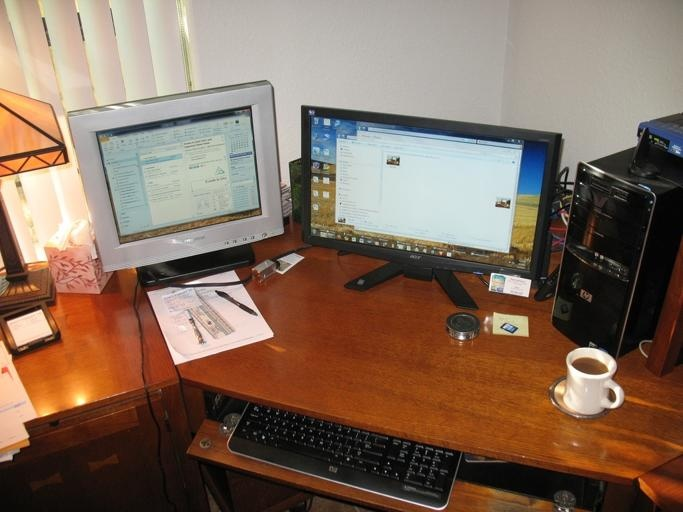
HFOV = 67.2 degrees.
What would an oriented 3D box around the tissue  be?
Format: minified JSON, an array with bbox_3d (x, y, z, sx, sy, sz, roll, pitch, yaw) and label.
[{"bbox_3d":[-0.830,0.012,1.666,0.187,0.221,0.154,-18,35,-37],"label":"tissue "}]

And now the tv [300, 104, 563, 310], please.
[{"bbox_3d":[0.253,-0.122,1.531,0.602,0.428,0.243,10,41,17],"label":"tv"}]

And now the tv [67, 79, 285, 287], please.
[{"bbox_3d":[-0.506,-0.243,1.602,0.665,0.658,0.141,-17,36,-31],"label":"tv"}]

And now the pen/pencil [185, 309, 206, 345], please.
[{"bbox_3d":[-0.426,0.210,1.505,0.015,0.020,0.102,-13,46,-20],"label":"pen/pencil"}]

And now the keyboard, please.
[{"bbox_3d":[-0.003,0.501,1.310,0.580,0.124,0.138,4,23,16],"label":"keyboard"}]

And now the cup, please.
[{"bbox_3d":[0.605,0.300,1.236,0.108,0.092,0.141,-11,27,-19],"label":"cup"}]
